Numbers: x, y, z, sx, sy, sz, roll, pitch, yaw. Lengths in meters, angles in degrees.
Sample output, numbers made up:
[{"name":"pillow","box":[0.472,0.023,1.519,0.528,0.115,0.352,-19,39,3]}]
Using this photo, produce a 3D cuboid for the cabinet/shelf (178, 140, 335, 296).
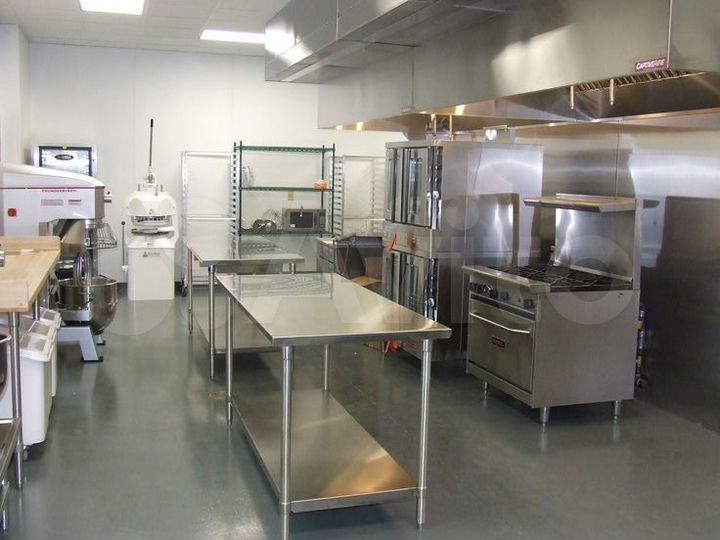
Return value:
[{"name":"cabinet/shelf","box":[-1.355,-0.703,7.004,2.030,2.061,0.630,-1,10,-8]}]

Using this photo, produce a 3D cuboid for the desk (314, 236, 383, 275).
[{"name":"desk","box":[-0.106,-0.182,6.411,0.714,0.498,0.665,-2,9,-4]}]

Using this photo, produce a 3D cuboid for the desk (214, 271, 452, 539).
[{"name":"desk","box":[-0.198,0.197,3.181,1.063,1.244,2.118,-2,14,-16]}]

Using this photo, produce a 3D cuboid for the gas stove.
[{"name":"gas stove","box":[1.381,0.106,4.407,0.930,0.244,0.986,-4,9,-14]}]

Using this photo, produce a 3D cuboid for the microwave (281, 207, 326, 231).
[{"name":"microwave","box":[-0.716,-0.666,7.577,0.440,0.282,0.310,-1,4,-19]}]
